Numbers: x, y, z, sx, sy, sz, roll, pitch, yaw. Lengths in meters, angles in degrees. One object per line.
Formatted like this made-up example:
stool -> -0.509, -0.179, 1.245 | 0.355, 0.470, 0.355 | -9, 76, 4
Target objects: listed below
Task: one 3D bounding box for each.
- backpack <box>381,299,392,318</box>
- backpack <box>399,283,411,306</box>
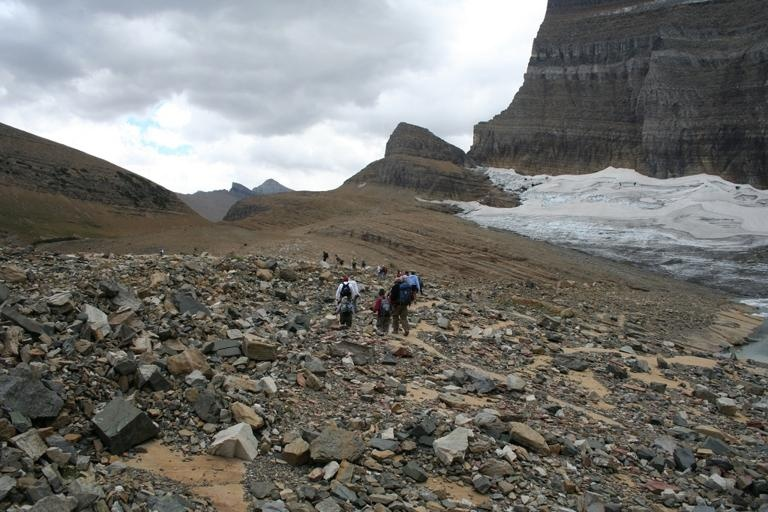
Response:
backpack -> 0.097, 1.740, 15.170 | 0.344, 0.603, 0.215 | 6, 8, -17
backpack -> 0.702, 1.275, 15.305 | 0.387, 0.736, 0.263 | 11, 8, 20
